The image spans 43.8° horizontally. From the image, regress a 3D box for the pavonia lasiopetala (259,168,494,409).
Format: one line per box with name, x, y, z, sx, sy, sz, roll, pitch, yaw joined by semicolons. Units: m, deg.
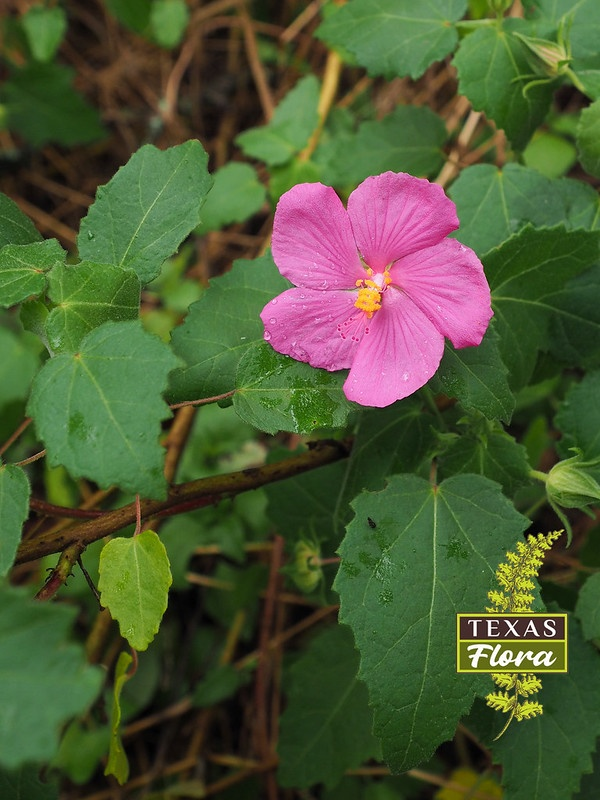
pavonia lasiopetala;0.191;-0.181;1.495;0.464;0.215;0.418;20;96;19
